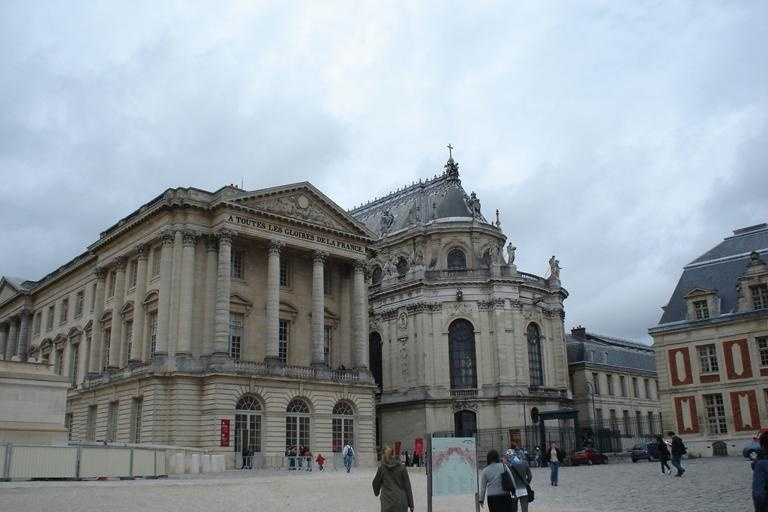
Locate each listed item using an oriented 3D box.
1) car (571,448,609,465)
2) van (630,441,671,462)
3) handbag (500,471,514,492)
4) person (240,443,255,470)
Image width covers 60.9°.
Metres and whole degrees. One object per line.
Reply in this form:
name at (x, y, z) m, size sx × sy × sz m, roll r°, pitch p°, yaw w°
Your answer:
car at (17.435, 16.893, 55.100) m, size 2.949 × 1.041 × 1.329 m, roll 5°, pitch -11°, yaw -29°
van at (21.578, 15.878, 53.030) m, size 2.167 × 0.949 × 1.181 m, roll 4°, pitch -13°, yaw -38°
handbag at (3.877, 7.107, 20.519) m, size 0.427 × 0.631 × 0.192 m, roll 12°, pitch -26°, yaw -34°
person at (-10.258, 15.035, 49.139) m, size 0.981 × 1.676 × 0.585 m, roll 10°, pitch -25°, yaw -31°
